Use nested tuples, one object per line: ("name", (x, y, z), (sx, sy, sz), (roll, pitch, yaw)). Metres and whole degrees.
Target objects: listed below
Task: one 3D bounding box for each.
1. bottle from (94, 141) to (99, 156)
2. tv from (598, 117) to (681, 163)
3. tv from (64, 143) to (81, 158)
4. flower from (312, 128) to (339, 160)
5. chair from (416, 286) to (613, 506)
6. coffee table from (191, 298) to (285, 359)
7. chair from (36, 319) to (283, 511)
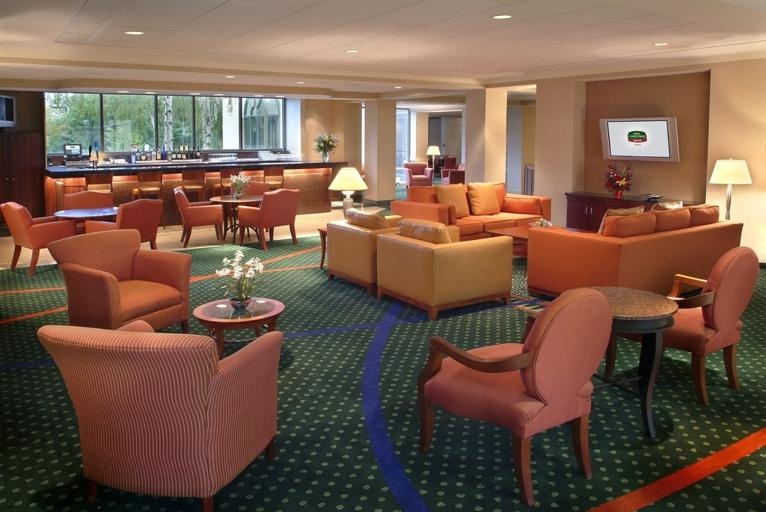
("bottle", (-7.819, -2.938, 13.000), (0.119, 0.347, 0.220), (-9, 14, -28))
("tv", (4.992, -2.281, 9.360), (1.773, 0.840, 0.109), (-4, 2, -14))
("tv", (-7.682, -2.595, 11.761), (0.483, 0.348, 0.236), (-1, 9, -17))
("flower", (-1.806, -3.346, 14.468), (1.057, 0.900, 1.017), (3, 9, 25))
("chair", (1.119, 0.725, 3.801), (1.436, 1.640, 1.440), (-6, 13, -31))
("coffee table", (-1.609, 0.741, 4.882), (1.001, 0.481, 0.941), (-3, 9, -39))
("chair", (-1.248, 0.909, 3.343), (1.202, 1.058, 1.359), (1, 5, 17))
